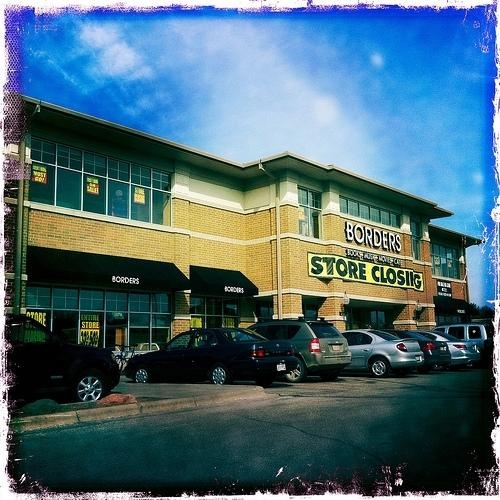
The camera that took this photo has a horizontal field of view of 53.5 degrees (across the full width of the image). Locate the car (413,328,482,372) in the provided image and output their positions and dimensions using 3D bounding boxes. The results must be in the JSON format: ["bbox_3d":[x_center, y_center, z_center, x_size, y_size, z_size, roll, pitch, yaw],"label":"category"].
[{"bbox_3d":[7.567,3.834,19.393,2.577,0.796,1.180,-5,-11,36],"label":"car"}]

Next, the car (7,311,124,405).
[{"bbox_3d":[-3.451,2.139,9.482,2.422,1.091,1.098,1,-5,-34],"label":"car"}]

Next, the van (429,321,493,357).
[{"bbox_3d":[9.255,3.814,21.733,2.358,1.209,1.289,1,-8,28],"label":"van"}]

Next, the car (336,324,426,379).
[{"bbox_3d":[4.173,3.316,16.338,2.873,1.004,1.312,-2,-6,40],"label":"car"}]

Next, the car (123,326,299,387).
[{"bbox_3d":[-1.133,2.884,13.494,4.254,1.461,1.099,-7,-13,30],"label":"car"}]

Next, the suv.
[{"bbox_3d":[1.280,2.837,14.934,2.958,1.167,1.379,-2,-7,38],"label":"suv"}]
